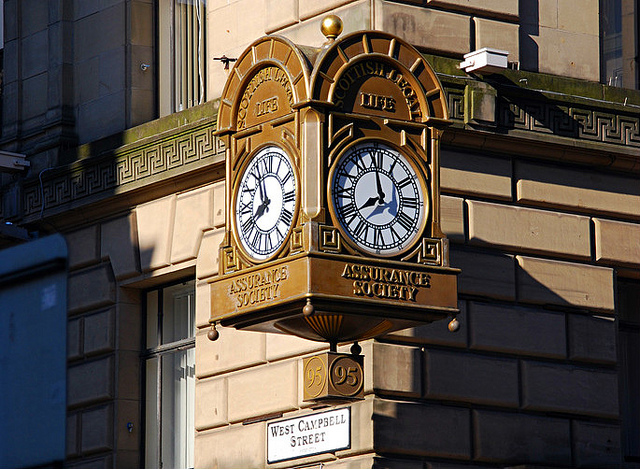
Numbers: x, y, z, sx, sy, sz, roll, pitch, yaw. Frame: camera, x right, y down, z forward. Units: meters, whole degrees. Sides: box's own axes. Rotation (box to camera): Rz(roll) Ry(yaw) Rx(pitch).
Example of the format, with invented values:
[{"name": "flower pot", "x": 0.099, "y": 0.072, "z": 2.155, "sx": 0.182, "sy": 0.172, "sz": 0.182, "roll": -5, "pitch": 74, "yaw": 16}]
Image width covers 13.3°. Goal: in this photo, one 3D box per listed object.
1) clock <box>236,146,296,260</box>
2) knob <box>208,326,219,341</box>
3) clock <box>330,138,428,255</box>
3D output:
[{"name": "clock", "x": -0.636, "y": -0.326, "z": 33.854, "sx": 0.109, "sy": 1.386, "sz": 1.225, "roll": 10, "pitch": -17, "yaw": -42}, {"name": "knob", "x": -1.320, "y": 1.229, "z": 34.246, "sx": 0.157, "sy": 0.199, "sz": 0.151, "roll": -1, "pitch": -18, "yaw": 1}, {"name": "clock", "x": 0.698, "y": -0.422, "z": 33.702, "sx": 1.480, "sy": 1.387, "sz": 0.096, "roll": 9, "pitch": 17, "yaw": 36}]
